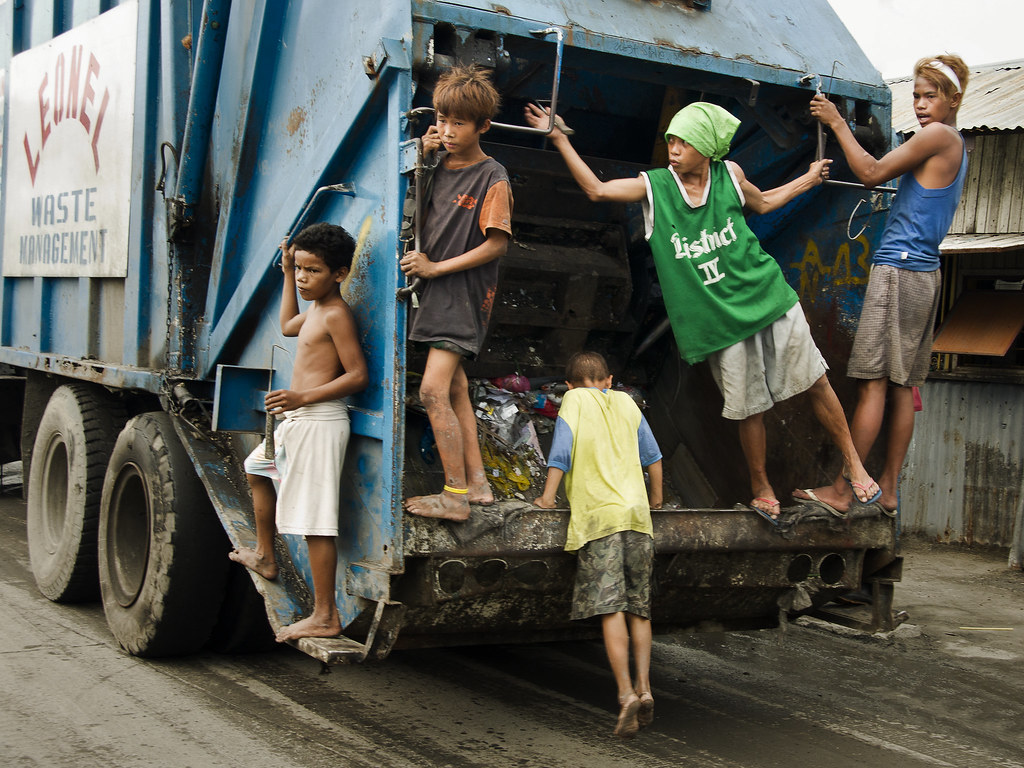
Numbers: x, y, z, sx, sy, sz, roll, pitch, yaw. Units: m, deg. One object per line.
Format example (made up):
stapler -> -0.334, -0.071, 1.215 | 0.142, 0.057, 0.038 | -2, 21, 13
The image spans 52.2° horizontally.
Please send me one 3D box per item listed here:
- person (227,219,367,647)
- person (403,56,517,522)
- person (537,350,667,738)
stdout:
person -> -0.906, 0.193, 4.441 | 0.335, 1.750, 0.625 | 0, 5, -33
person -> -0.232, -0.386, 4.281 | 0.419, 1.824, 0.531 | 2, 4, -1
person -> 0.383, 0.645, 4.569 | 0.534, 1.552, 0.695 | 3, 4, 7
